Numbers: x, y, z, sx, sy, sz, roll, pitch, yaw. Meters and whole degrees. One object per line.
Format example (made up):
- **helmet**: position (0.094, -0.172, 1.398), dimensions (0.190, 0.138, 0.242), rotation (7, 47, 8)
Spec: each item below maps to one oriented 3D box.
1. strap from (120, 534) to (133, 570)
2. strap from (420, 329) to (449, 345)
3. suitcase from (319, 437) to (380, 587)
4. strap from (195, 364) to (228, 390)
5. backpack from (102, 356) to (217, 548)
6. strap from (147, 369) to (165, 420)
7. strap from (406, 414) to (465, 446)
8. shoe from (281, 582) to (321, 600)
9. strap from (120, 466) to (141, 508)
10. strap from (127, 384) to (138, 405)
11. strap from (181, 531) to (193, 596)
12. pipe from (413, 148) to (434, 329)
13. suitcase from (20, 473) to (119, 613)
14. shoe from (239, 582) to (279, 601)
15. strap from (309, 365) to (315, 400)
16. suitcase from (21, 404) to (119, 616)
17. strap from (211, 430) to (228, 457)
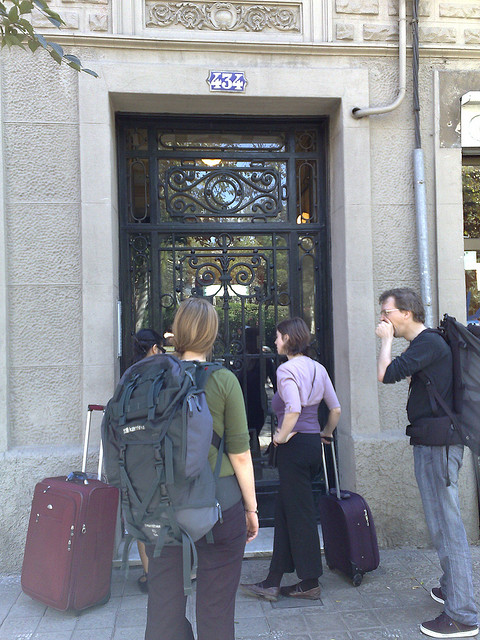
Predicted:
- **strap**: position (-0.554, 1.113, 4.169), dimensions (0.046, 0.181, 0.149), rotation (12, -12, 1)
- **strap**: position (1.151, 0.099, 5.088), dimensions (0.114, 0.104, 0.079), rotation (-5, 3, 4)
- **suitcase**: position (0.694, 1.180, 5.620), dimensions (0.281, 0.952, 0.400), rotation (-7, 3, -28)
- **strap**: position (-0.135, 0.268, 4.128), dimensions (0.074, 0.113, 0.120), rotation (-10, -26, 44)
- **backpack**: position (-0.397, 0.603, 4.056), dimensions (0.538, 0.831, 0.343), rotation (8, 13, 42)
- **strap**: position (-0.386, 0.337, 4.002), dimensions (0.048, 0.263, 0.075), rotation (-10, 19, -40)
- **strap**: position (1.104, 0.626, 5.022), dimensions (0.390, 0.180, 0.294), rotation (5, 6, 26)
- **shoe**: position (0.377, 1.681, 5.395), dimensions (0.236, 0.090, 0.091), rotation (2, -17, 13)
- **strap**: position (-0.505, 0.765, 3.987), dimensions (0.024, 0.201, 0.031), rotation (-25, -4, 39)
- **strap**: position (-0.506, 0.351, 4.033), dimensions (0.012, 0.098, 0.025), rotation (-2, -33, 41)
- **strap**: position (-0.245, 1.119, 4.019), dimensions (0.059, 0.328, 0.040), rotation (-25, -34, 36)
- **pipe**: position (1.303, -0.559, 6.301), dimensions (0.180, 1.332, 0.243), rotation (4, 9, 10)
- **suitcase**: position (-1.038, 1.343, 5.261), dimensions (0.459, 0.797, 0.490), rotation (6, 12, 35)
- **shoe**: position (0.115, 1.673, 5.404), dimensions (0.225, 0.086, 0.079), rotation (10, -37, 21)
- **strap**: position (0.443, 0.396, 5.394), dimensions (0.025, 0.224, 0.016), rotation (15, -21, -9)
- **suitcase**: position (-1.017, 1.139, 5.313), dimensions (0.519, 1.191, 0.433), rotation (2, -3, 41)
- **strap**: position (-0.102, 0.591, 4.173), dimensions (0.065, 0.087, 0.032), rotation (3, -11, -32)
